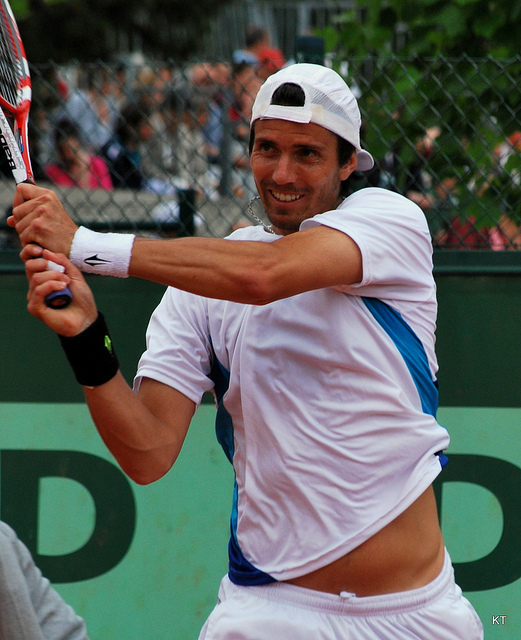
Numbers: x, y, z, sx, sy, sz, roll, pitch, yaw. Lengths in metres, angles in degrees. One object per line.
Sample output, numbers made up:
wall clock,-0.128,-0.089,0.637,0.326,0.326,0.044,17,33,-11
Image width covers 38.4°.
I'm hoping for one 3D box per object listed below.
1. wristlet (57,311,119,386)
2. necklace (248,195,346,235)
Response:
wristlet,-0.399,0.075,1.752,0.107,0.135,0.134,-16,42,-13
necklace,0.088,-0.303,2.220,0.220,0.144,0.303,-6,9,-31
